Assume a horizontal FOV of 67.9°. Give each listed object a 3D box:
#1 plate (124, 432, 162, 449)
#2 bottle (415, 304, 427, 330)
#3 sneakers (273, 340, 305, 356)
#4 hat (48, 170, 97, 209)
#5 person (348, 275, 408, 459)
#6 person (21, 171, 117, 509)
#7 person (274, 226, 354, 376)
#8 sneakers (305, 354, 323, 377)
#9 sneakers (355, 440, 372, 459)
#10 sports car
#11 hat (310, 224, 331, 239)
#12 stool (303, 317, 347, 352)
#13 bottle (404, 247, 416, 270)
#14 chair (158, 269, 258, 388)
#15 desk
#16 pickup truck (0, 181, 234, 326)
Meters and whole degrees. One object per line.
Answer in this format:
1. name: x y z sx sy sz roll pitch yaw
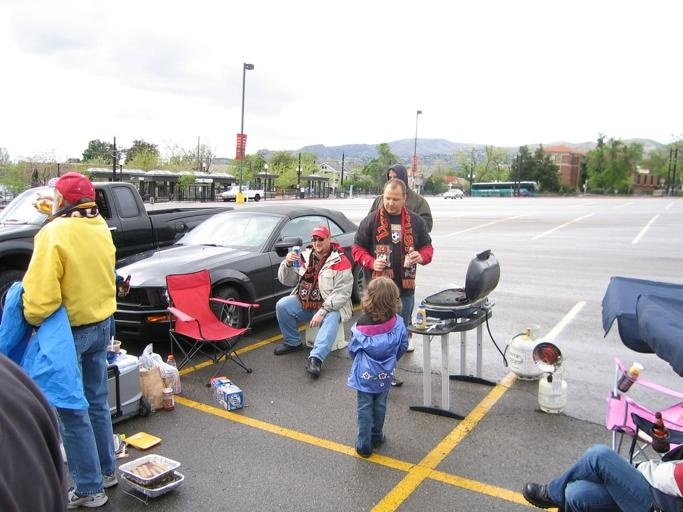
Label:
1. plate: -1.660 1.533 4.224 0.317 0.042 0.197 6 12 30
2. bottle: 0.730 0.567 4.610 0.097 0.171 0.163 1 10 9
3. sneakers: -0.651 1.127 6.208 0.357 0.169 0.135 4 1 -16
4. hat: -1.894 -0.473 3.531 0.349 0.201 0.240 -7 12 -1
5. person: 0.272 0.876 4.185 0.347 1.361 0.594 8 13 41
6. person: -1.816 0.573 3.460 0.414 2.249 0.710 1 10 6
7. person: -0.329 0.438 6.013 0.892 1.526 1.280 -6 11 -29
8. sneakers: -0.296 1.203 5.498 0.153 0.202 0.176 0 10 -1
9. sneakers: 0.178 1.529 4.031 0.113 0.124 0.051 0 10 -1
10. sports car: -1.366 0.056 7.214 1.431 1.215 3.477 3 2 32
11. hat: -0.233 -0.283 6.131 0.155 0.148 0.284 5 11 25
12. stool: -0.219 0.987 6.330 0.388 0.406 0.400 -6 -12 19
13. bottle: 0.705 0.036 5.211 0.151 0.254 0.145 3 4 0
14. chair: -1.460 0.804 5.650 0.931 1.184 0.956 -1 8 -8
15. desk: 1.121 1.128 5.132 0.361 0.576 0.913 1 2 37
16. pickup truck: -4.046 -0.107 9.136 1.897 1.615 4.188 0 1 33
